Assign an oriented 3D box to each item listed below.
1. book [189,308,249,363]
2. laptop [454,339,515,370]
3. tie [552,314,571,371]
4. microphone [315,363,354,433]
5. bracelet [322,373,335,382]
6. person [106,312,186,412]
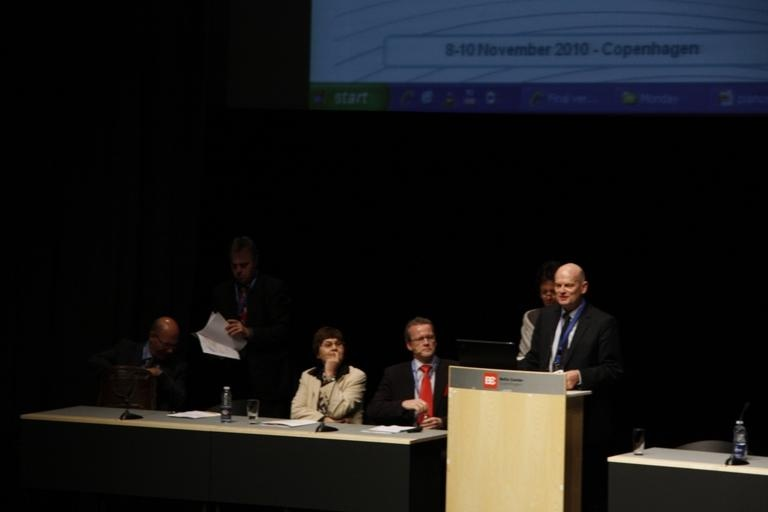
[{"bbox_3d":[-1.320,0.695,5.909,0.154,0.387,0.395,0,-32,43],"label":"book"},{"bbox_3d":[0.630,0.613,4.521,0.382,0.161,0.102,-1,-6,38],"label":"laptop"},{"bbox_3d":[1.218,0.610,4.989,0.066,0.391,0.122,5,-23,30],"label":"tie"},{"bbox_3d":[-0.335,1.096,5.085,0.305,0.288,0.236,2,-4,1],"label":"microphone"},{"bbox_3d":[-0.401,0.889,5.327,0.064,0.037,0.087,0,-4,-9],"label":"bracelet"},{"bbox_3d":[-1.935,0.896,5.928,0.679,0.921,0.507,7,-13,-14],"label":"person"}]
